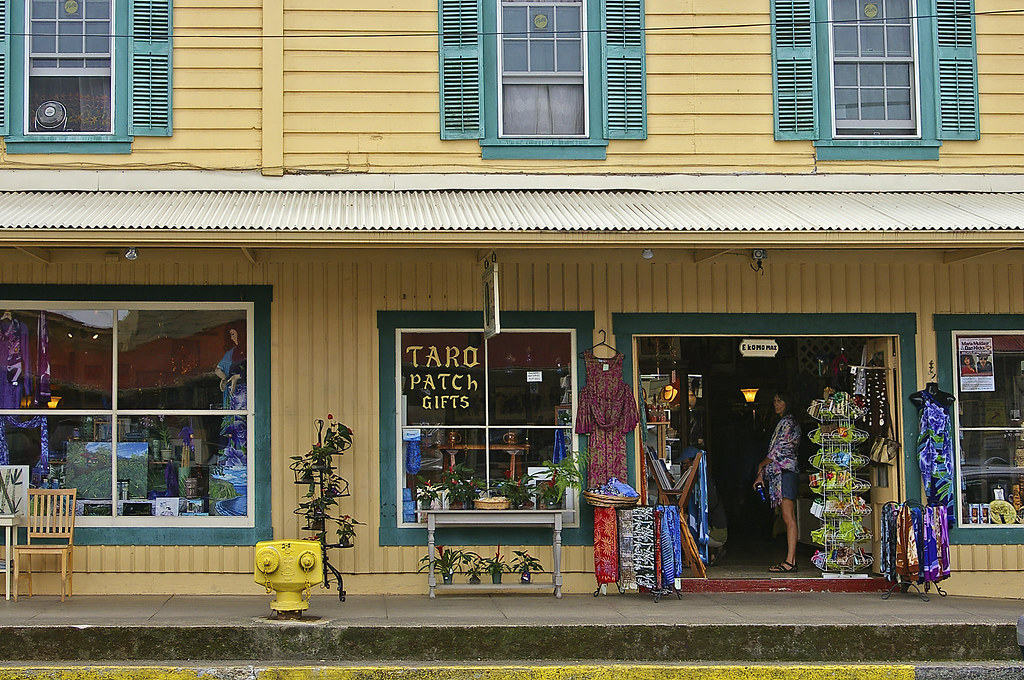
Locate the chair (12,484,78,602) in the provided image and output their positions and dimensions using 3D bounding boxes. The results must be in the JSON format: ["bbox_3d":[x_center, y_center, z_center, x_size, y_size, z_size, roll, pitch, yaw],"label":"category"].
[{"bbox_3d":[-5.535,2.409,20.896,0.715,1.278,0.630,0,-6,-14],"label":"chair"}]

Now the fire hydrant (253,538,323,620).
[{"bbox_3d":[-2.498,2.679,19.779,0.731,0.848,0.329,-1,-6,-10],"label":"fire hydrant"}]

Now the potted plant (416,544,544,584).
[{"bbox_3d":[-0.377,2.735,21.364,1.472,0.480,0.548,3,4,1],"label":"potted plant"}]

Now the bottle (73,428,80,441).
[{"bbox_3d":[-5.269,1.144,21.323,0.106,0.146,0.025,0,-6,-13],"label":"bottle"}]

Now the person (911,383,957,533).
[{"bbox_3d":[5.222,1.401,21.652,0.532,1.762,0.205,-2,-6,6],"label":"person"}]

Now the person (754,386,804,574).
[{"bbox_3d":[3.447,1.820,22.669,0.600,2.265,1.219,-3,-6,7],"label":"person"}]

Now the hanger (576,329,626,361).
[{"bbox_3d":[1.106,0.050,21.643,0.566,0.385,0.082,-2,-6,1],"label":"hanger"}]

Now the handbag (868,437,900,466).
[{"bbox_3d":[4.667,1.393,21.927,0.161,0.338,0.367,17,-5,-9],"label":"handbag"}]

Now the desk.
[{"bbox_3d":[-0.186,2.550,21.362,1.813,0.981,0.874,-1,-8,3],"label":"desk"}]
